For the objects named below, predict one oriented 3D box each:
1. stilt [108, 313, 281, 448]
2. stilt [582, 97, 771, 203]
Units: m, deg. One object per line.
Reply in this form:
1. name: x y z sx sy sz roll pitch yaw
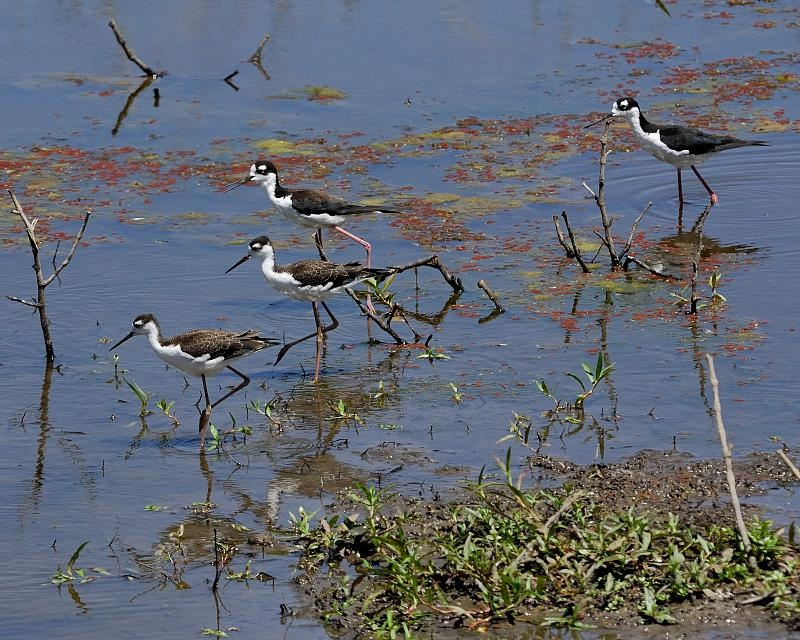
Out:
1. stilt: -1.803 0.529 9.146 1.154 1.174 1.177 -7 15 -24
2. stilt: 4.255 -2.611 14.702 1.612 1.661 1.498 -4 14 -11
